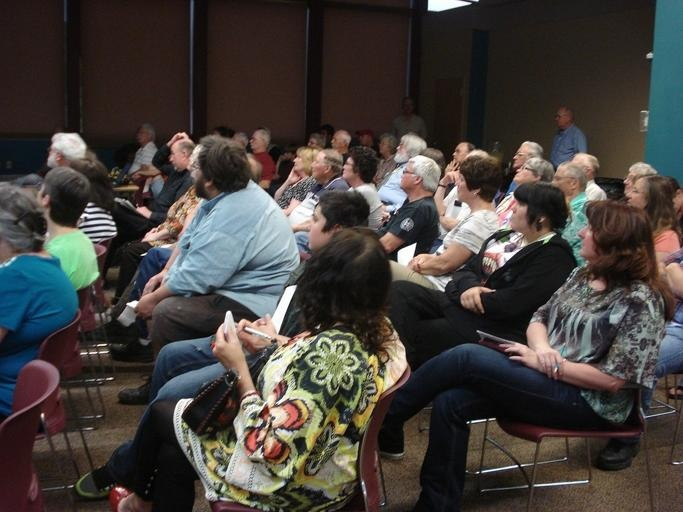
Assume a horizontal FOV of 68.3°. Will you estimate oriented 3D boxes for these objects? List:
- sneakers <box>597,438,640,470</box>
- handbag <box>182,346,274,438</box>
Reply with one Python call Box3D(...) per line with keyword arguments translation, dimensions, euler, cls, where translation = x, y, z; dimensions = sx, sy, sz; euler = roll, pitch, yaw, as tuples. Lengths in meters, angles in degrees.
Box3D(translation=(1.494, 1.030, 2.713), dimensions=(0.114, 0.151, 0.319), euler=(-6, -5, 41), cls="sneakers")
Box3D(translation=(-0.339, 0.443, 1.551), dimensions=(0.295, 0.070, 0.169), euler=(-52, 3, -7), cls="handbag")
